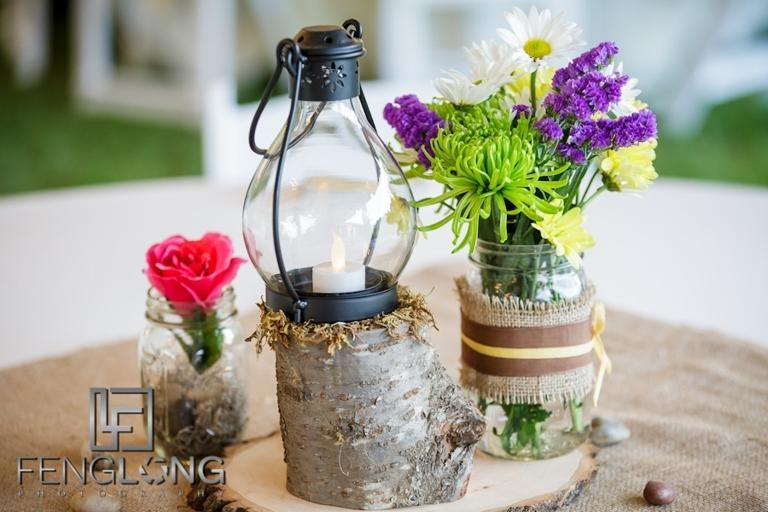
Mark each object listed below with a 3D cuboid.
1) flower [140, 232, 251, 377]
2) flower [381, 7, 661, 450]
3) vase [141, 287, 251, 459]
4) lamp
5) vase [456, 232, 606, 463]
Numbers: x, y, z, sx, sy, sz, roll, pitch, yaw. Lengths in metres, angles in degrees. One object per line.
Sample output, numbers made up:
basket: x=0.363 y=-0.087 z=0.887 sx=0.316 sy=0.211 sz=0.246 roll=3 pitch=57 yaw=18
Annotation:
flower: x=-0.320 y=0.086 z=1.329 sx=0.148 sy=0.221 sz=0.149 roll=-1 pitch=-2 yaw=-28
flower: x=0.235 y=-0.039 z=1.368 sx=0.409 sy=0.657 sz=0.408 roll=-16 pitch=22 yaw=-13
vase: x=-0.333 y=0.178 z=1.394 sx=0.174 sy=0.309 sz=0.176 roll=-5 pitch=20 yaw=-28
lamp: x=-0.089 y=-0.141 z=1.270 sx=0.256 sy=0.450 sz=0.286 roll=9 pitch=20 yaw=33
vase: x=0.254 y=0.141 z=1.389 sx=0.222 sy=0.382 sz=0.238 roll=-3 pitch=19 yaw=2
